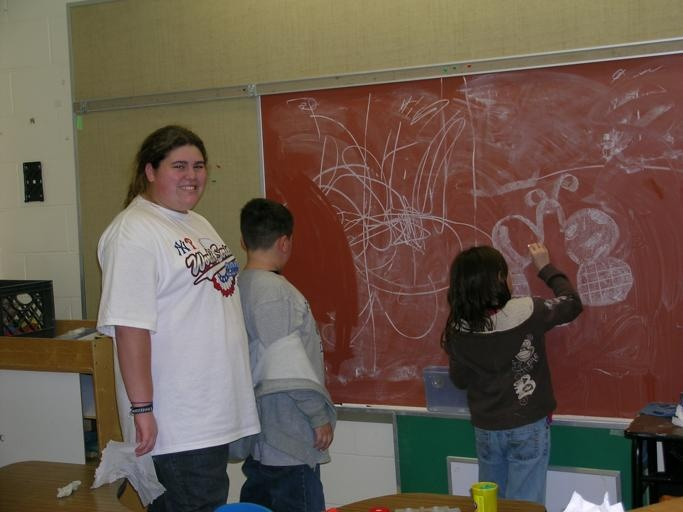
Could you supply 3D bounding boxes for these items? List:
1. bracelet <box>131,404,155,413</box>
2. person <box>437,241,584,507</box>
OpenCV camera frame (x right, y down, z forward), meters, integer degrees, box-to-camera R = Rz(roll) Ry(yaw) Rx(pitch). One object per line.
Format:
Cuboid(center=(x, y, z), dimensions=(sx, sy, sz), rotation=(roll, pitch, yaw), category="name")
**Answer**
Cuboid(center=(-0.690, 0.529, 2.341), dimensions=(0.072, 0.039, 0.045), rotation=(-2, 0, -23), category="bracelet")
Cuboid(center=(0.746, 0.500, 2.889), dimensions=(0.528, 0.849, 0.275), rotation=(-2, 0, -18), category="person")
